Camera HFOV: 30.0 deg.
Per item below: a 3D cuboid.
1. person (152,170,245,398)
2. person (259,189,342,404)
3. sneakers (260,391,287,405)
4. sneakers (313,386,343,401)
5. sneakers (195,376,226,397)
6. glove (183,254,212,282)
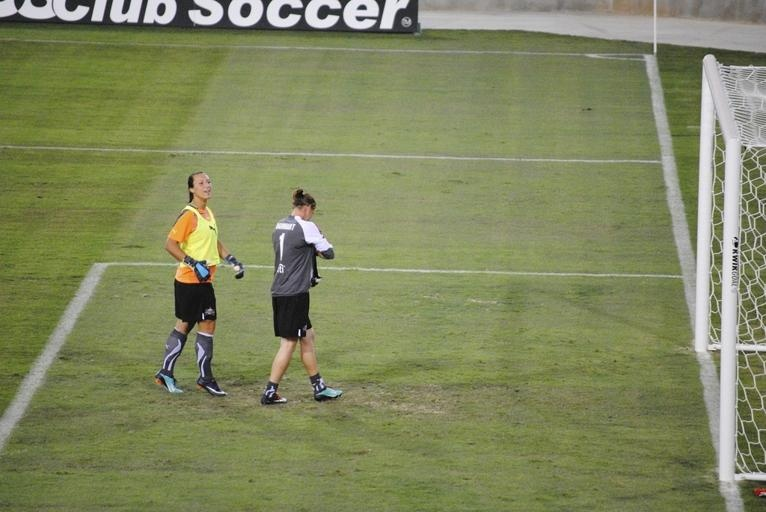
[{"bbox_3d":[-2.857,0.428,21.987,1.184,3.395,1.086,1,18,-4],"label":"person"},{"bbox_3d":[-1.292,0.628,21.809,1.014,3.280,0.901,2,18,-2],"label":"person"},{"bbox_3d":[-1.668,2.190,21.872,0.490,0.231,0.137,-2,55,-13],"label":"sneakers"},{"bbox_3d":[-0.854,2.128,21.952,0.569,0.207,0.160,-5,42,-4],"label":"sneakers"},{"bbox_3d":[-2.623,2.002,22.023,0.551,0.191,0.222,19,7,-4],"label":"sneakers"},{"bbox_3d":[-2.794,0.146,21.713,0.459,0.126,0.355,22,56,-13],"label":"glove"}]
